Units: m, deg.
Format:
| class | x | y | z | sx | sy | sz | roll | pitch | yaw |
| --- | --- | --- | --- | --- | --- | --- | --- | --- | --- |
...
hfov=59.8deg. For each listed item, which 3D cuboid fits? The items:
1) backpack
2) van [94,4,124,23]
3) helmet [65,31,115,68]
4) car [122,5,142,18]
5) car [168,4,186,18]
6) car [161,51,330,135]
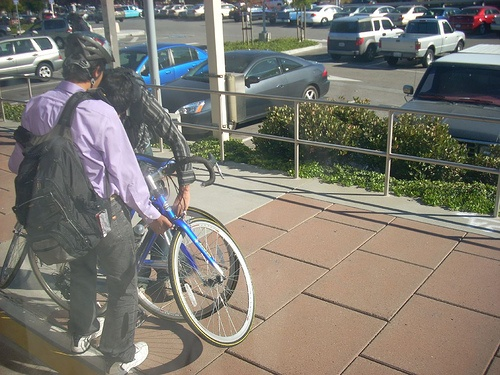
| class | x | y | z | sx | sy | sz | roll | pitch | yaw |
| --- | --- | --- | --- | --- | --- | --- | --- | --- | --- |
| backpack | -1.237 | -0.039 | 2.841 | 0.604 | 1.060 | 0.441 | -8 | 21 | -17 |
| van | -15.786 | -19.366 | 48.803 | 3.173 | 1.734 | 2.945 | -4 | 21 | -8 |
| helmet | -1.085 | -0.935 | 2.989 | 0.292 | 0.292 | 0.236 | -13 | 44 | -15 |
| car | -14.046 | -21.005 | 52.119 | 2.148 | 1.135 | 1.287 | -21 | 34 | -29 |
| car | -8.002 | -19.858 | 49.031 | 2.348 | 1.203 | 1.223 | 18 | 28 | 41 |
| car | -0.138 | -2.598 | 10.584 | 1.874 | 1.426 | 4.094 | 19 | 30 | 41 |
